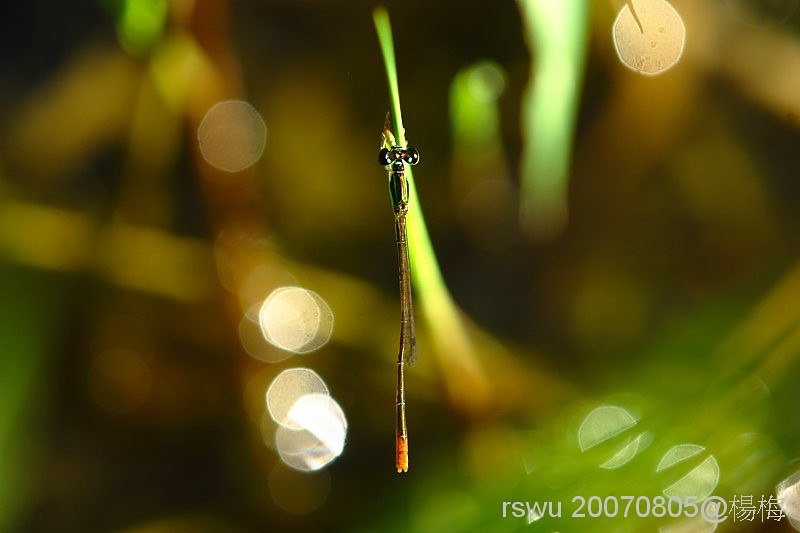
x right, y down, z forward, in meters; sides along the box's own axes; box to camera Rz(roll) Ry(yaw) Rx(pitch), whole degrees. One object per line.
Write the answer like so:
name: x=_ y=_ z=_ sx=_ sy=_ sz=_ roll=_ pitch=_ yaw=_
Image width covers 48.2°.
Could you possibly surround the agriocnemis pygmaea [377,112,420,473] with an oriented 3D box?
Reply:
agriocnemis pygmaea: x=-0.001 y=0.030 z=1.577 sx=0.062 sy=0.069 sz=0.653 roll=1 pitch=89 yaw=5
